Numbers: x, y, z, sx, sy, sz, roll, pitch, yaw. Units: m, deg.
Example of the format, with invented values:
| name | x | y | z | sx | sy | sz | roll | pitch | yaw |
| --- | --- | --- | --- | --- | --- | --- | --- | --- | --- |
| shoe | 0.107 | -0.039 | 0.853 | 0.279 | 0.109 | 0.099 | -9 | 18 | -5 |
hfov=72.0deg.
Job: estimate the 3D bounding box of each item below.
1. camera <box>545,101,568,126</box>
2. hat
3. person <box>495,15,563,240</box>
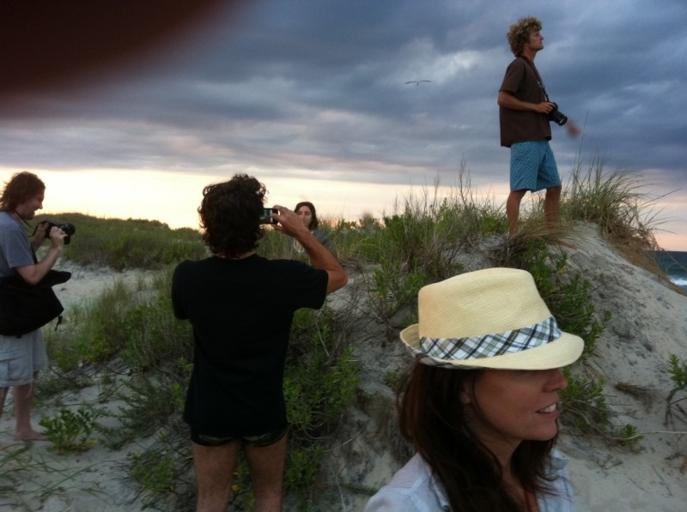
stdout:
| name | x | y | z | sx | sy | sz | roll | pitch | yaw |
| --- | --- | --- | --- | --- | --- | --- | --- | --- | --- |
| camera | 2.943 | -1.951 | 6.530 | 0.224 | 0.289 | 0.239 | 8 | 9 | 43 |
| hat | 0.836 | 0.293 | 2.713 | 0.697 | 0.292 | 0.627 | -2 | 1 | 2 |
| person | 2.618 | -1.835 | 6.592 | 0.876 | 3.062 | 0.789 | 5 | 8 | 25 |
